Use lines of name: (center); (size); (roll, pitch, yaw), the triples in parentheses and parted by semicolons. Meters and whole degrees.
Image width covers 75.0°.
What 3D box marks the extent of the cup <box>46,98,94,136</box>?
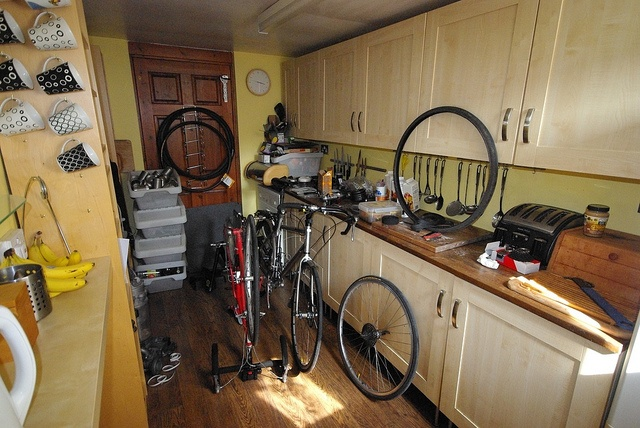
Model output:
cup: (-1.420, -0.526, 2.392); (0.168, 0.249, 0.167); (-21, -23, -10)

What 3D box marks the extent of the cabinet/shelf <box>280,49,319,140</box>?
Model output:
cabinet/shelf: (-0.211, -1.311, 4.545); (0.325, 0.782, 0.844); (-4, 16, -19)

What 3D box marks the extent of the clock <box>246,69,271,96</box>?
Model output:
clock: (-0.723, -1.532, 4.795); (0.284, 0.303, 0.039); (-4, 16, -34)

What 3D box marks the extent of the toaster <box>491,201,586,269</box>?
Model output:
toaster: (1.401, 0.152, 2.696); (0.426, 0.344, 0.367); (3, 10, -29)

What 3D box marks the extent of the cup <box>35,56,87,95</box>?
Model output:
cup: (-1.438, -0.720, 2.358); (0.175, 0.253, 0.164); (-16, 1, 0)

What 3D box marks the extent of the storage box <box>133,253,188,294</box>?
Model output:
storage box: (-1.564, 0.617, 4.157); (0.320, 0.290, 0.432); (-2, 11, -16)

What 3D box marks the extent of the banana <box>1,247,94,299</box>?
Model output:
banana: (-1.481, 0.290, 2.280); (0.356, 0.227, 0.205); (10, 11, 2)

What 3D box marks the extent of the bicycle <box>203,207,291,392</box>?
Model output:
bicycle: (-0.635, 0.554, 3.646); (0.610, 0.896, 1.389); (1, 14, -17)

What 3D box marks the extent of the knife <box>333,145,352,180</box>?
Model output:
knife: (0.245, -0.551, 4.424); (0.035, 0.361, 0.309); (-18, 29, -32)

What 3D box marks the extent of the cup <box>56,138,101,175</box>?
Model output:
cup: (-1.406, -0.309, 2.464); (0.162, 0.239, 0.173); (-21, -22, -9)

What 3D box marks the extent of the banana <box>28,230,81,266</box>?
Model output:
banana: (-1.530, 0.223, 2.444); (0.252, 0.185, 0.085); (12, 27, 11)

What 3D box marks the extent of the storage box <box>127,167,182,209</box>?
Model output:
storage box: (-1.568, -0.307, 3.968); (0.412, 0.247, 0.477); (-3, 11, -21)

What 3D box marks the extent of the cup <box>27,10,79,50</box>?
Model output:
cup: (-1.464, -0.984, 2.305); (0.188, 0.180, 0.254); (8, 19, -16)

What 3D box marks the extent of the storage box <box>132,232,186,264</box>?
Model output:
storage box: (-1.526, 0.325, 3.978); (0.323, 0.147, 0.249); (-4, 3, -4)

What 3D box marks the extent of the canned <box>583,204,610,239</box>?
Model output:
canned: (1.605, 0.047, 2.428); (0.126, 0.201, 0.128); (-7, 20, -23)

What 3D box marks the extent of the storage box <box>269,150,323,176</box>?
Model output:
storage box: (-0.233, -0.551, 4.627); (0.614, 0.284, 0.148); (-6, 14, -24)

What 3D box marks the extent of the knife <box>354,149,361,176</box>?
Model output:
knife: (0.383, -0.527, 4.219); (0.032, 0.258, 0.026); (4, 6, -28)
